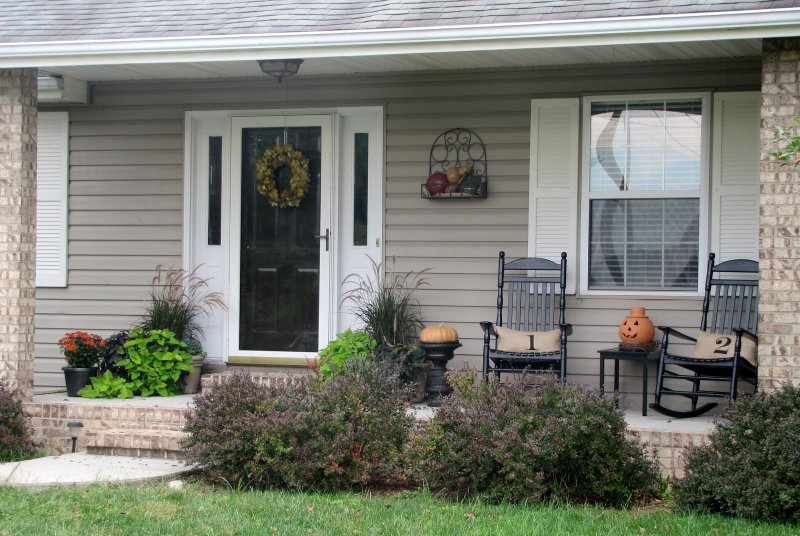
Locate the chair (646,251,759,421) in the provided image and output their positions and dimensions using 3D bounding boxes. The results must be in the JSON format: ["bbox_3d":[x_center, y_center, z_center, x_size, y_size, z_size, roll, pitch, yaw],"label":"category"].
[{"bbox_3d":[2.946,0.636,10.229,0.988,1.598,1.159,0,-1,18],"label":"chair"}]

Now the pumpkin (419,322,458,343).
[{"bbox_3d":[0.384,0.637,10.703,0.239,0.177,0.242,0,-3,30],"label":"pumpkin"}]

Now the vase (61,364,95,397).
[{"bbox_3d":[-3.341,1.162,10.914,0.306,0.230,0.303,5,-4,-15],"label":"vase"}]

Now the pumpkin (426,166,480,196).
[{"bbox_3d":[0.532,-0.893,10.913,0.465,0.285,0.188,-11,-1,7],"label":"pumpkin"}]

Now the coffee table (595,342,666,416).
[{"bbox_3d":[2.280,1.022,10.418,0.818,0.781,0.676,0,-5,18],"label":"coffee table"}]

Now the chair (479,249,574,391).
[{"bbox_3d":[1.270,0.453,10.621,0.899,1.246,0.875,0,-1,7],"label":"chair"}]

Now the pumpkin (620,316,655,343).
[{"bbox_3d":[2.369,0.634,10.507,0.268,0.219,0.271,-7,-18,41],"label":"pumpkin"}]

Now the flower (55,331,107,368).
[{"bbox_3d":[-3.349,0.861,11.064,0.452,0.380,0.377,2,0,27],"label":"flower"}]
